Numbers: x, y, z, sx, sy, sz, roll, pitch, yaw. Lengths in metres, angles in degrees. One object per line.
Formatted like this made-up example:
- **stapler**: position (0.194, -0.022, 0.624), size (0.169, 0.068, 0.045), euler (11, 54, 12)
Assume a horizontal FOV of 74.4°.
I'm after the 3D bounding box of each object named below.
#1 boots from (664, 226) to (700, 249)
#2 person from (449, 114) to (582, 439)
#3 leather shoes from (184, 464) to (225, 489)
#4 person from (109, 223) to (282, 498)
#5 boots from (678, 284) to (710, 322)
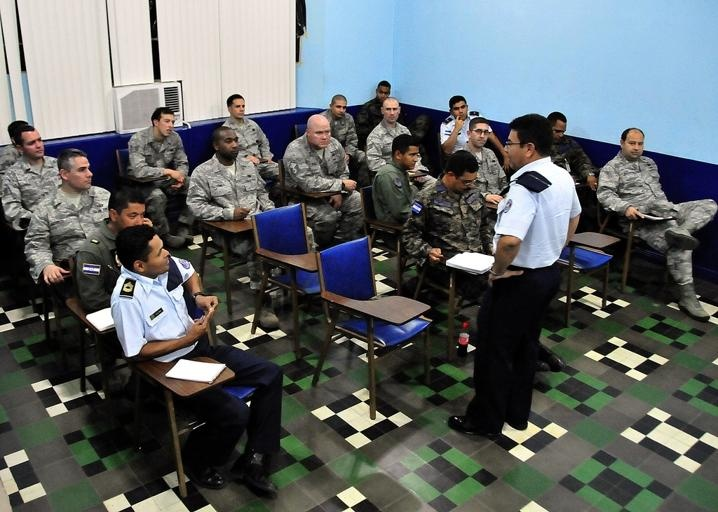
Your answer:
- **boots**: position (3.190, -0.191, 4.684), size (0.200, 0.158, 0.298), euler (-20, 33, -35)
- **person**: position (0.969, 0.187, 2.995), size (0.465, 2.057, 0.616), euler (15, 27, 36)
- **leather shoes**: position (-0.894, 1.287, 2.782), size (0.244, 0.098, 0.105), euler (11, 20, 29)
- **person**: position (-0.909, 0.579, 2.747), size (0.952, 1.510, 0.582), euler (10, 24, 27)
- **boots**: position (3.327, 0.435, 4.659), size (0.282, 0.287, 0.269), euler (8, 23, 24)
